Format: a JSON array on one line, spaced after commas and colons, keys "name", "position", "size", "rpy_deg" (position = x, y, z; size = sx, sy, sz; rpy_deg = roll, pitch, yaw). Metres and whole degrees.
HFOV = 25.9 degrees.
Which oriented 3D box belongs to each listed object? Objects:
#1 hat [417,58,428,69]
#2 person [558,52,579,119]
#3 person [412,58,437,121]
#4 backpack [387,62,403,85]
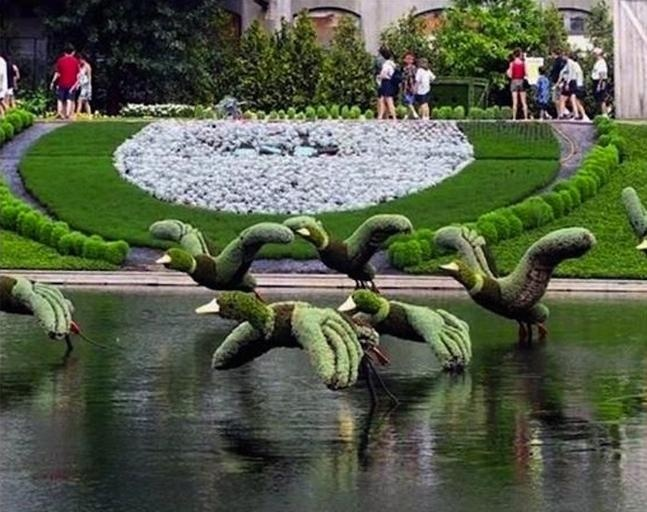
[{"name": "hat", "position": [2.809, -5.369, 39.537], "size": [0.316, 0.344, 0.146], "rpy_deg": [28, 32, 26]}, {"name": "person", "position": [6.886, -4.762, 39.684], "size": [0.619, 1.880, 1.504], "rpy_deg": [3, 8, 10]}, {"name": "person", "position": [2.848, -4.725, 40.022], "size": [0.517, 1.692, 1.351], "rpy_deg": [2, 8, 5]}, {"name": "backpack", "position": [2.008, -4.942, 38.466], "size": [0.281, 0.485, 0.662], "rpy_deg": [4, 8, 14]}]
